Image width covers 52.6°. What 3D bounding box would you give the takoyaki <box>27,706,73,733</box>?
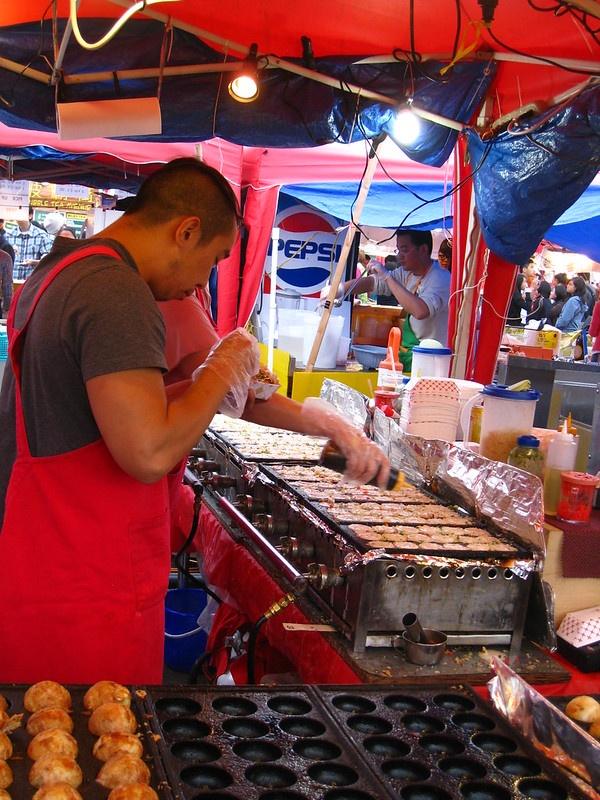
[{"bbox_3d":[-0.339,0.430,0.821,0.042,0.014,0.042,5,1,-43],"label":"takoyaki"}]

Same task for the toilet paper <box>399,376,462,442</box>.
[{"bbox_3d":[0.463,0.033,2.249,0.178,0.223,0.210,-6,14,-28],"label":"toilet paper"}]

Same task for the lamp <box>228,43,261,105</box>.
[{"bbox_3d":[-0.294,-1.766,3.257,0.226,0.179,0.350,14,42,-1],"label":"lamp"}]

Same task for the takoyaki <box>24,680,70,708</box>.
[{"bbox_3d":[-0.362,0.430,0.877,0.047,0.025,0.044,13,-9,-6],"label":"takoyaki"}]

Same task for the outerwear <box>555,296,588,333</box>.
[{"bbox_3d":[4.531,-1.407,10.207,0.360,0.680,0.635,6,-4,37],"label":"outerwear"}]

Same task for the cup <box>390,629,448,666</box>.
[{"bbox_3d":[0.296,0.562,1.381,0.141,0.050,0.111,8,-3,-12],"label":"cup"}]

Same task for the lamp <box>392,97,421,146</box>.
[{"bbox_3d":[0.622,-1.587,3.492,0.123,0.230,0.114,3,-23,-3],"label":"lamp"}]

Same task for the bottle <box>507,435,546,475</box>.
[{"bbox_3d":[0.642,0.157,1.714,0.109,0.118,0.091,11,-5,-44],"label":"bottle"}]
